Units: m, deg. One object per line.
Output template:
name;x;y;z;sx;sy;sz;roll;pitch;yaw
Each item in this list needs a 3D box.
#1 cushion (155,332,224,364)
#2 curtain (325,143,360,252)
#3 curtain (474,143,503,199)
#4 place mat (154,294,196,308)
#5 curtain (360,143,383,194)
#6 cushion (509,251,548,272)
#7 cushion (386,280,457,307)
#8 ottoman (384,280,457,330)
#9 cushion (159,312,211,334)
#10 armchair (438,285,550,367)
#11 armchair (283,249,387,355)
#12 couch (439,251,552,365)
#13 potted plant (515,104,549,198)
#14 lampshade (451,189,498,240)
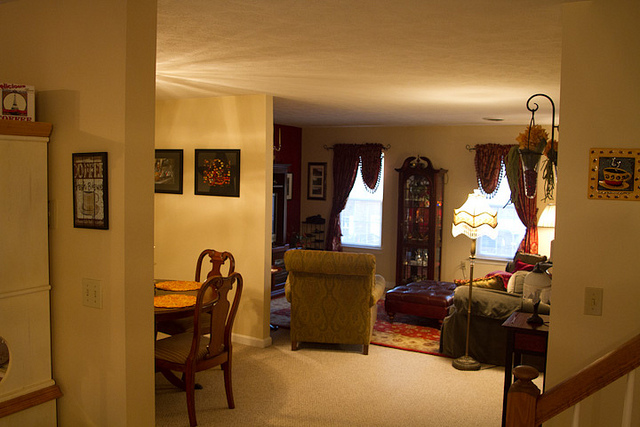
cushion;-1.243;1.220;4.647;0.429;0.213;0.383;4;2;27
curtain;0.430;-0.311;9.881;0.626;2.141;0.334;1;7;-1
curtain;2.945;-0.742;8.779;0.487;0.956;0.204;3;8;16
place mat;-1.393;0.837;4.774;0.237;0.025;0.246;4;3;32
curtain;0.966;-0.867;9.609;0.428;0.957;0.216;2;7;3
cushion;3.281;0.805;7.945;0.502;0.305;0.493;3;7;10
cushion;1.614;1.167;7.550;0.816;0.288;0.708;5;6;24
ottoman;1.643;1.394;7.823;0.943;0.480;1.411;4;2;23
cushion;-1.343;1.087;4.935;0.373;0.094;0.346;4;7;33
armchair;1.939;1.245;5.910;0.953;0.598;0.976;1;2;14
armchair;0.198;0.995;6.532;1.163;1.225;1.259;4;4;6
couch;2.363;1.016;6.642;1.101;1.162;1.888;6;13;27
potted plant;1.666;-0.513;3.947;0.291;0.768;0.288;1;-2;37
lampshade;1.841;-0.030;5.942;0.485;0.595;0.439;5;6;15
